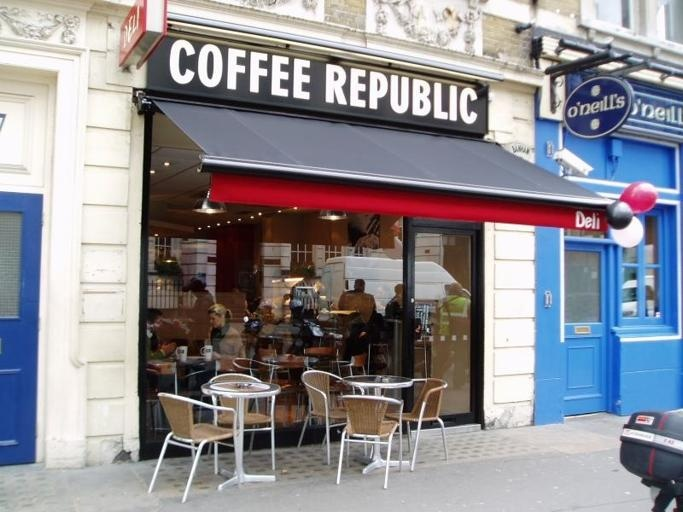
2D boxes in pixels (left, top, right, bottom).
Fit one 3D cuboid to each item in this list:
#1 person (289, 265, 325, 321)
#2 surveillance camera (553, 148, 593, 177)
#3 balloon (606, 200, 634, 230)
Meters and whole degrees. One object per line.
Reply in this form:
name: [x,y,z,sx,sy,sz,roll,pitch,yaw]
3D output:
person: [-0.535,0.538,10.890,0.534,0.773,0.225,3,6,24]
surveillance camera: [3.564,-1.357,10.868,0.618,0.235,0.355,34,1,-12]
balloon: [3.652,-0.550,9.430,0.340,0.349,0.270,2,5,9]
